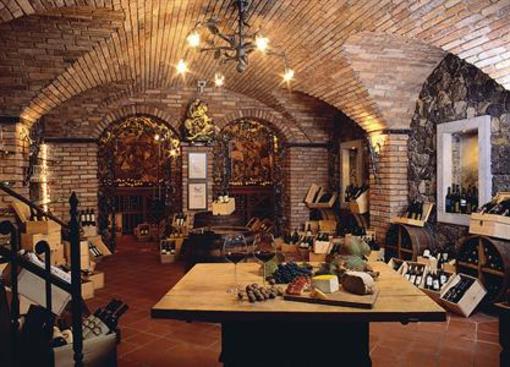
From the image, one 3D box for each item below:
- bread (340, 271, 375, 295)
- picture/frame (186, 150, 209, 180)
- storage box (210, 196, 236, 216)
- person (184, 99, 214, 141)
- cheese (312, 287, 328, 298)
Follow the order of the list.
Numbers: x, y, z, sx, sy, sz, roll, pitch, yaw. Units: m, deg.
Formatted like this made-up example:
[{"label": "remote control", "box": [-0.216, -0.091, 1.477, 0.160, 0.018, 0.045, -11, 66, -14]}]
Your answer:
[{"label": "bread", "box": [0.739, 0.648, 2.651, 0.142, 0.099, 0.196, 0, 1, -39]}, {"label": "picture/frame", "box": [-1.326, -0.431, 8.593, 0.665, 0.893, 0.087, 1, -4, -11]}, {"label": "storage box", "box": [-0.586, 0.418, 7.126, 0.288, 0.257, 0.529, -3, 1, 4]}, {"label": "person", "box": [-1.250, -1.403, 8.544, 0.623, 0.953, 0.358, -2, 7, -30]}, {"label": "cheese", "box": [0.432, 0.726, 2.566, 0.073, 0.031, 0.055, 11, 0, 17]}]
